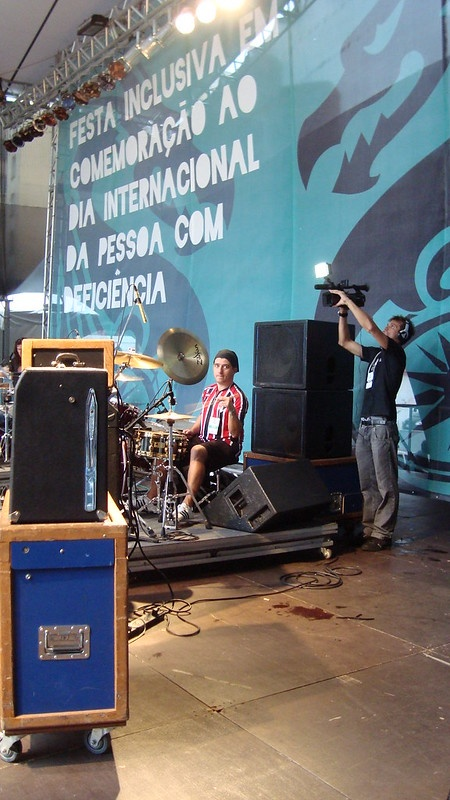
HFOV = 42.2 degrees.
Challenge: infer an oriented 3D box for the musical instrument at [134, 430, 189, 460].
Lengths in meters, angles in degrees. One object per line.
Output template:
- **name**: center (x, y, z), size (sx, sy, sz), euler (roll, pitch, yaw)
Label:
- **musical instrument**: center (-0.399, 0.294, 3.700), size (0.222, 0.115, 0.246), euler (8, -4, 38)

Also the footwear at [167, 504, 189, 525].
- **footwear**: center (-0.289, 0.736, 3.698), size (0.072, 0.091, 0.205), euler (-3, -17, 20)

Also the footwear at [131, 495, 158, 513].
- **footwear**: center (-0.581, 0.733, 4.156), size (0.094, 0.117, 0.242), euler (5, 4, -33)

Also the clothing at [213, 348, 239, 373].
- **clothing**: center (0.014, -0.326, 4.696), size (0.158, 0.182, 0.227), euler (9, -25, 15)

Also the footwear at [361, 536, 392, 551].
- **footwear**: center (1.013, 0.956, 3.882), size (0.196, 0.101, 0.084), euler (5, -7, -7)

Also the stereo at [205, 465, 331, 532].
- **stereo**: center (0.272, 0.580, 3.615), size (0.495, 0.360, 0.492), euler (1, 4, -40)

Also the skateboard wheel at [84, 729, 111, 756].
- **skateboard wheel**: center (-0.335, 0.890, 1.521), size (0.064, 0.072, 0.059), euler (1, -2, 0)

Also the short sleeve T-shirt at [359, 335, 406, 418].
- **short sleeve T-shirt**: center (1.070, -0.132, 3.966), size (0.289, 0.551, 0.191), euler (0, -2, 31)

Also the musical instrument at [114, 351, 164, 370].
- **musical instrument**: center (-0.615, -0.291, 3.997), size (0.217, 0.070, 0.228), euler (5, -16, 0)

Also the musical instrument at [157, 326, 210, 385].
- **musical instrument**: center (-0.296, -0.302, 4.022), size (0.329, 0.373, 0.193), euler (2, -2, -31)

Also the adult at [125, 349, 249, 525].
- **adult**: center (-0.225, 0.243, 4.367), size (0.736, 1.262, 0.754), euler (3, 1, -15)

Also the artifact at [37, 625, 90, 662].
- **artifact**: center (-0.402, 0.593, 1.418), size (0.088, 0.069, 0.019), euler (0, 0, -5)

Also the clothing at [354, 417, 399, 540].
- **clothing**: center (1.035, 0.541, 3.946), size (0.173, 0.815, 0.314), euler (3, -3, -42)
